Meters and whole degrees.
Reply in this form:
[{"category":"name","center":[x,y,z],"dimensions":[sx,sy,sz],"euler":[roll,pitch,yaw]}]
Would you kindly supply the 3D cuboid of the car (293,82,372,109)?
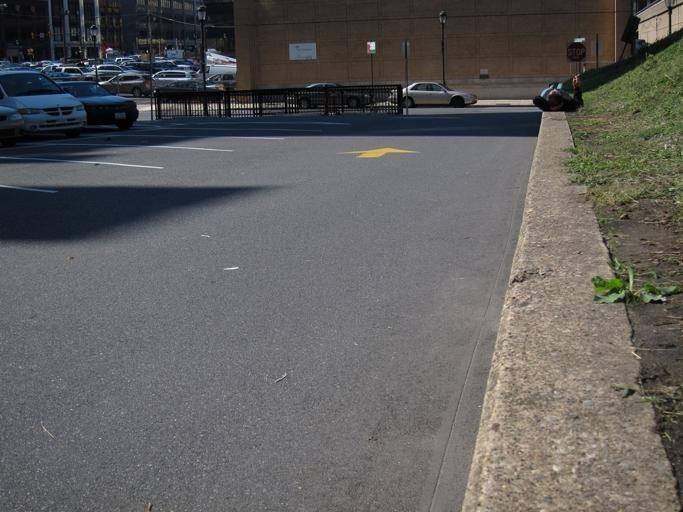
[{"category":"car","center":[-0.436,-8.561,32.503],"dimensions":[3.368,1.190,1.589],"euler":[-3,12,0]}]
